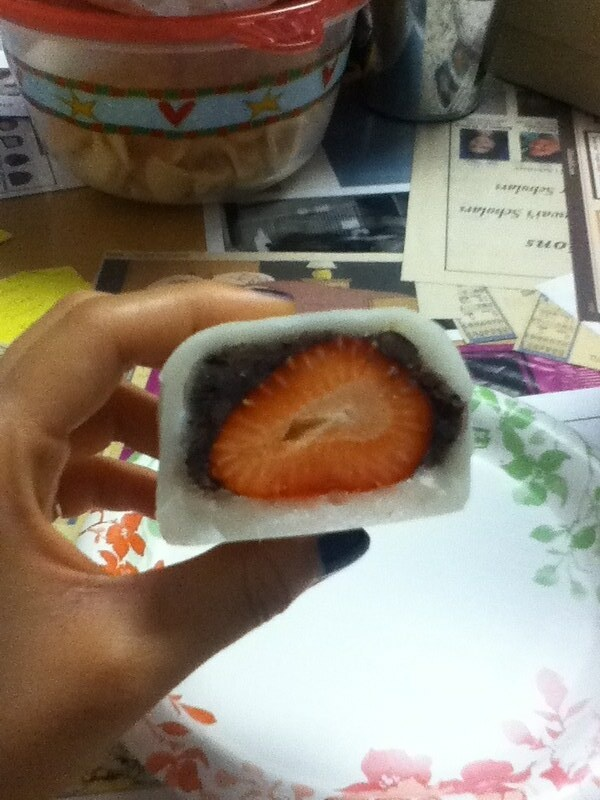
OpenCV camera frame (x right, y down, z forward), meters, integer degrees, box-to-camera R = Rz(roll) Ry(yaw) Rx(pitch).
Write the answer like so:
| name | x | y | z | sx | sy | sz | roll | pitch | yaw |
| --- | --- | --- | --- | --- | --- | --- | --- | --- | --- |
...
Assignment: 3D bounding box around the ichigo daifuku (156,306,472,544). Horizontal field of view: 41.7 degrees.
| name | x | y | z | sx | sy | sz | roll | pitch | yaw |
| --- | --- | --- | --- | --- | --- | --- | --- | --- | --- |
| ichigo daifuku | 0.001 | 0.022 | 0.390 | 0.174 | 0.058 | 0.107 | -5 | 94 | -4 |
